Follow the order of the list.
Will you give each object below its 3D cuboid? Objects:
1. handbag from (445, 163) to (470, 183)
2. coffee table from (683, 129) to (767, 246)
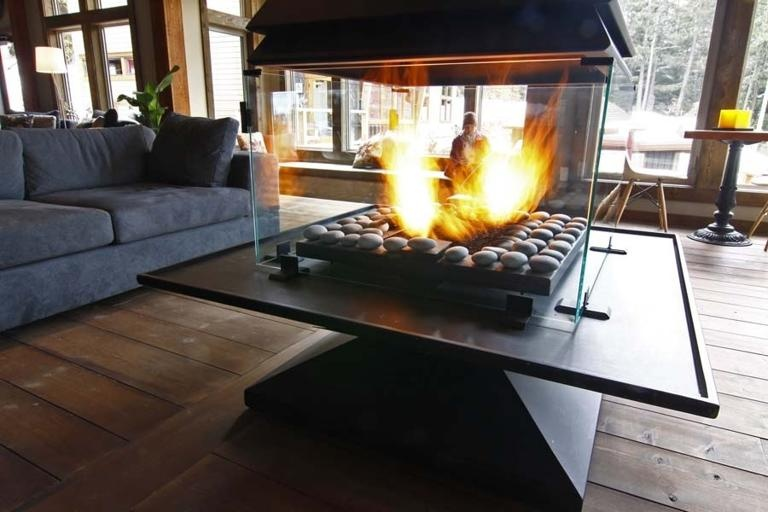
[{"bbox_3d":[0.257,-0.301,1.656,0.075,0.067,0.017,14,25,8],"label":"handbag"},{"bbox_3d":[2.610,-0.543,3.561,0.677,0.831,0.535,-15,26,-41],"label":"coffee table"}]
